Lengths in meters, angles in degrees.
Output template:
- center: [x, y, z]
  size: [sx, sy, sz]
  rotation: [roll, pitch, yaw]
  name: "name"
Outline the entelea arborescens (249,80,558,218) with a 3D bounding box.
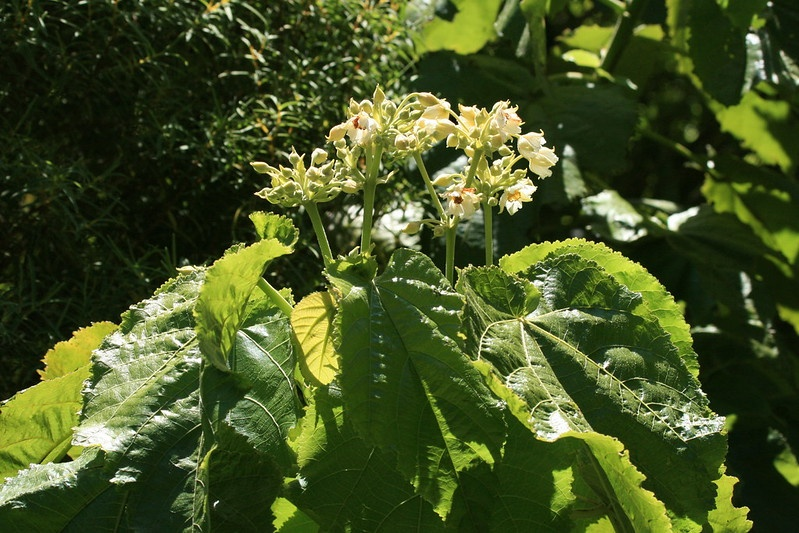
- center: [0.025, -0.288, 2.083]
  size: [0.508, 0.253, 0.366]
  rotation: [-9, 31, -13]
  name: "entelea arborescens"
